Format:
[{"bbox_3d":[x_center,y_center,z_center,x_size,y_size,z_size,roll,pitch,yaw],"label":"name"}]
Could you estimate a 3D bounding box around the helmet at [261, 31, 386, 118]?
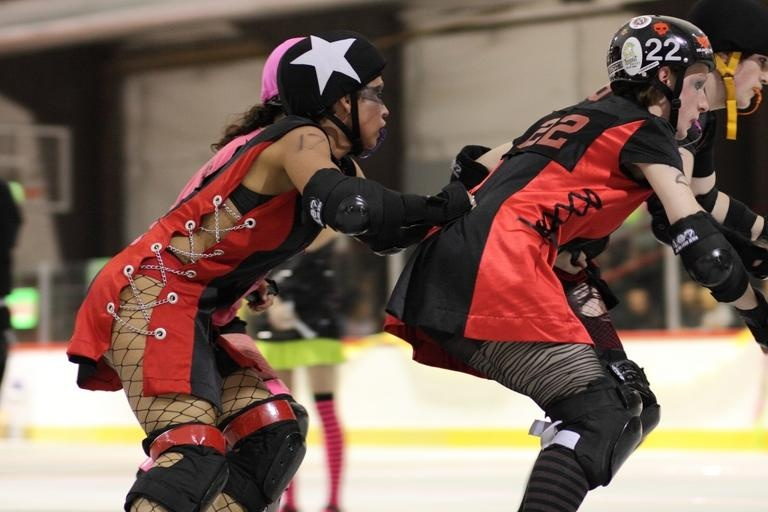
[{"bbox_3d":[-0.358,-1.097,7.341,0.658,0.430,0.438,-8,4,-3],"label":"helmet"}]
